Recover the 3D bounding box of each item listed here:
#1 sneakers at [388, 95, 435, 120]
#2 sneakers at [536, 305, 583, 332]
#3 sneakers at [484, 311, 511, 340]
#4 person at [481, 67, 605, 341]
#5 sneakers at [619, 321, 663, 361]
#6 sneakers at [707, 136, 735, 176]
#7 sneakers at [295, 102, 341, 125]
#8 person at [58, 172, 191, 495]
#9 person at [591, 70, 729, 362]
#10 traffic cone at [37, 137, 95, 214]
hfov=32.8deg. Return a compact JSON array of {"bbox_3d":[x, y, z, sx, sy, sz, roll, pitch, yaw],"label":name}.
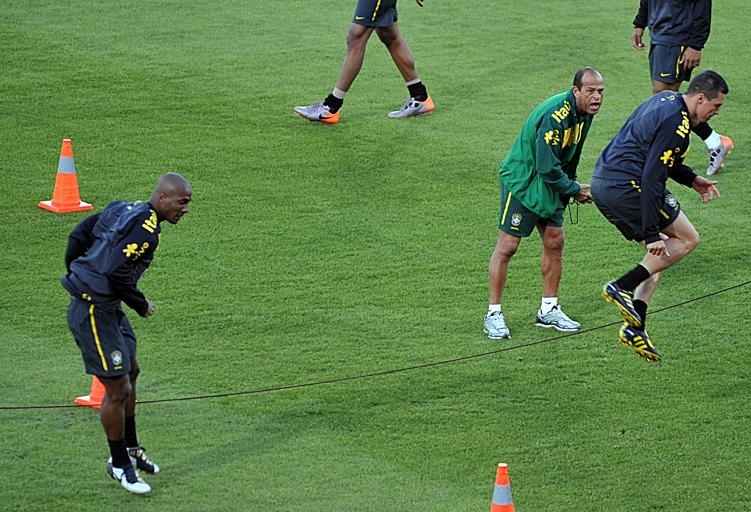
[{"bbox_3d":[0.343,-1.755,14.958,0.691,0.216,0.192,-6,38,-3],"label":"sneakers"},{"bbox_3d":[1.686,0.560,11.962,0.517,0.206,0.182,10,26,17],"label":"sneakers"},{"bbox_3d":[1.132,0.649,11.741,0.171,0.146,0.355,-3,9,-16],"label":"sneakers"},{"bbox_3d":[1.587,-0.469,11.634,0.945,2.514,0.899,9,28,-5],"label":"person"},{"bbox_3d":[2.338,0.759,11.280,0.459,0.148,0.224,35,66,-1],"label":"sneakers"},{"bbox_3d":[3.601,-1.052,13.334,0.266,0.451,0.168,20,47,3],"label":"sneakers"},{"bbox_3d":[-0.659,-1.647,14.631,0.618,0.207,0.188,9,26,-9],"label":"sneakers"},{"bbox_3d":[-2.082,0.543,10.196,0.902,2.377,1.348,5,28,-11],"label":"person"},{"bbox_3d":[2.371,-0.404,11.198,1.061,2.529,1.398,15,28,7],"label":"person"},{"bbox_3d":[-3.223,-0.839,13.242,0.698,0.614,0.658,4,12,6],"label":"traffic cone"}]
